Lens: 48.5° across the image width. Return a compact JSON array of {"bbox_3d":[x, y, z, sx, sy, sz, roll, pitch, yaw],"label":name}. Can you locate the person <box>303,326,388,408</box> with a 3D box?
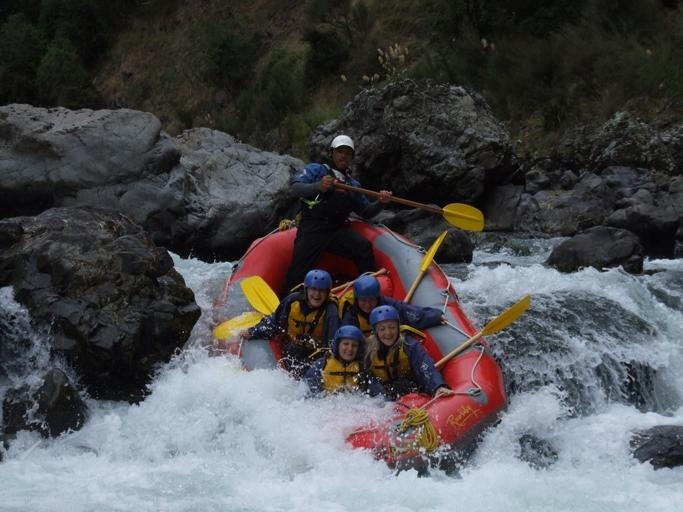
[{"bbox_3d":[-0.003,1.159,7.848,0.562,0.342,0.881,3,82,-8],"label":"person"}]

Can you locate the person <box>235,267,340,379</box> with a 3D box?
[{"bbox_3d":[-0.618,0.783,8.381,0.608,0.394,1.007,32,78,18],"label":"person"}]

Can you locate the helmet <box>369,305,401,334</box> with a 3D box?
[{"bbox_3d":[0.442,0.651,7.870,0.204,0.287,0.282,-2,74,-3],"label":"helmet"}]

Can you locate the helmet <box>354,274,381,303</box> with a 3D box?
[{"bbox_3d":[0.265,0.323,8.130,0.197,0.287,0.238,-3,83,0],"label":"helmet"}]

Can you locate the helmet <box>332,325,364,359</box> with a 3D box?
[{"bbox_3d":[0.066,0.862,7.802,0.218,0.252,0.355,4,86,1],"label":"helmet"}]

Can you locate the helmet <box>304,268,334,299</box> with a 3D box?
[{"bbox_3d":[-0.260,0.271,8.315,0.199,0.290,0.261,9,47,-7],"label":"helmet"}]

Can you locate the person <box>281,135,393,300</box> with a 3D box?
[{"bbox_3d":[-0.055,-0.397,9.357,1.192,1.073,2.352,0,83,-4],"label":"person"}]

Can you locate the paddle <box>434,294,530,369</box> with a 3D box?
[{"bbox_3d":[1.369,0.997,8.429,1.764,0.205,0.123,-37,114,20],"label":"paddle"}]
